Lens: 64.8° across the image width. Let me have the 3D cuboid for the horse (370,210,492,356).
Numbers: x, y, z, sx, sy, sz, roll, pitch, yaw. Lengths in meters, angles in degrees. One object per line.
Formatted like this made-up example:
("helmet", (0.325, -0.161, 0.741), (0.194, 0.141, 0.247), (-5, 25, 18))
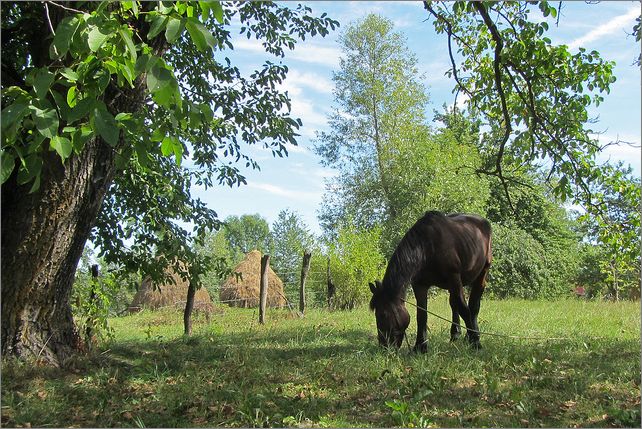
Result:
("horse", (2.222, 1.157, 9.556), (2.882, 2.797, 1.228), (11, -14, -42))
